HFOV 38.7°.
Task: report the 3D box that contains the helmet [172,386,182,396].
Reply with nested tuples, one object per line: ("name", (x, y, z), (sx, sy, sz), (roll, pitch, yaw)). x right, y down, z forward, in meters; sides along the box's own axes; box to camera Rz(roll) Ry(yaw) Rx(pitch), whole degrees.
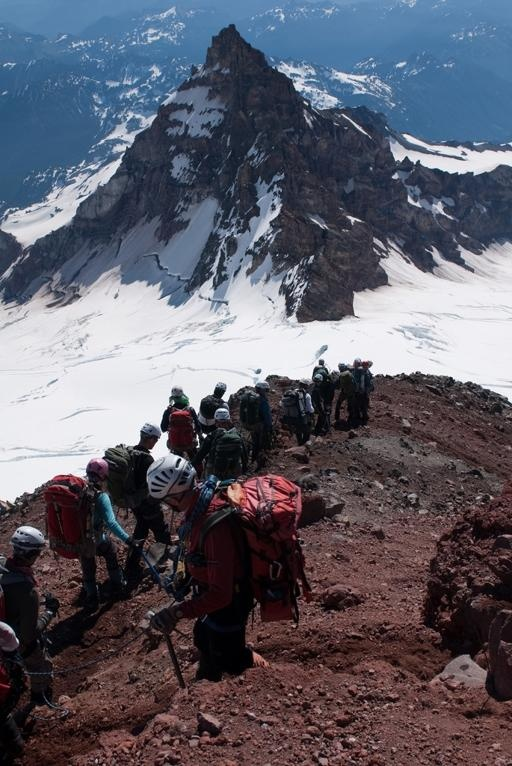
("helmet", (-1.551, 0.174, 14.333), (0.172, 0.184, 0.224), (2, 0, 0))

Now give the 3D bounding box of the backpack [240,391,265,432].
("backpack", (-0.039, 0.551, 13.996), (0.430, 0.817, 0.538), (-10, 22, -26))

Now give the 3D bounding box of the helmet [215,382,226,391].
("helmet", (-0.646, 0.065, 13.812), (0.132, 0.160, 0.171), (4, -17, -6))

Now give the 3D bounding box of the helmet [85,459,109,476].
("helmet", (-2.049, 1.071, 9.387), (0.256, 0.197, 0.192), (35, -19, -31))

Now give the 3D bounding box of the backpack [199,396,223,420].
("backpack", (-0.840, 0.479, 13.921), (0.387, 0.453, 0.472), (1, -5, 2))

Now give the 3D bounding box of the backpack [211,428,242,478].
("backpack", (-0.435, 1.033, 10.591), (0.583, 0.819, 0.469), (5, -14, -20))

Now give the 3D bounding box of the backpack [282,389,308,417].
("backpack", (0.843, 0.368, 15.265), (0.422, 0.572, 0.583), (3, 45, 7))

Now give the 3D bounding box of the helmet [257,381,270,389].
("helmet", (0.161, 0.053, 13.832), (0.204, 0.097, 0.136), (-3, 17, -38))

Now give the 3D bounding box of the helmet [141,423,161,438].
("helmet", (-1.445, 0.680, 10.179), (0.176, 0.127, 0.252), (17, 5, 37))

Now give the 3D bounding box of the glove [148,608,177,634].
("glove", (-0.789, 2.035, 6.355), (0.256, 0.232, 0.198), (-5, 18, 8))
